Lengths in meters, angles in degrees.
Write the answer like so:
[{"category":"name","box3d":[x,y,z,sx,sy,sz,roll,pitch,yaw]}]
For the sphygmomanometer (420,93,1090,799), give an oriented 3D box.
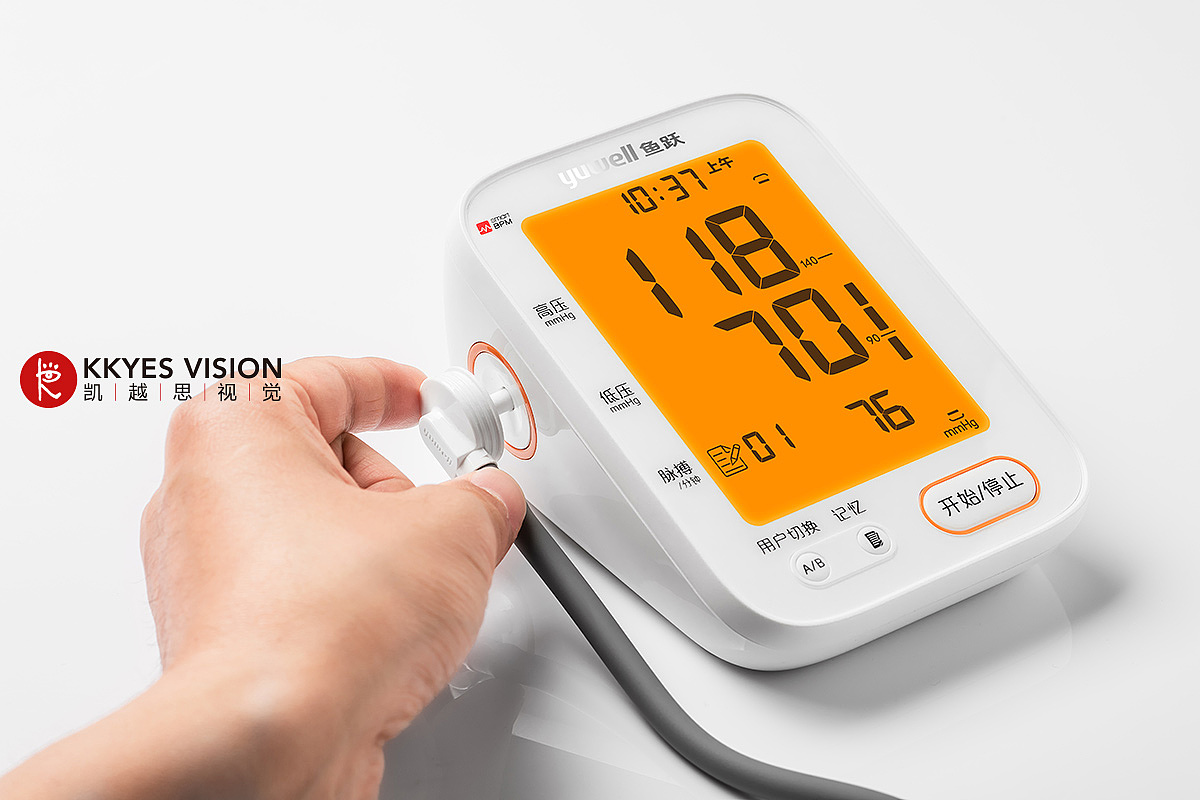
[{"category":"sphygmomanometer","box3d":[0.156,-0.042,1.119,0.546,0.228,0.612,-24,57,-11]}]
